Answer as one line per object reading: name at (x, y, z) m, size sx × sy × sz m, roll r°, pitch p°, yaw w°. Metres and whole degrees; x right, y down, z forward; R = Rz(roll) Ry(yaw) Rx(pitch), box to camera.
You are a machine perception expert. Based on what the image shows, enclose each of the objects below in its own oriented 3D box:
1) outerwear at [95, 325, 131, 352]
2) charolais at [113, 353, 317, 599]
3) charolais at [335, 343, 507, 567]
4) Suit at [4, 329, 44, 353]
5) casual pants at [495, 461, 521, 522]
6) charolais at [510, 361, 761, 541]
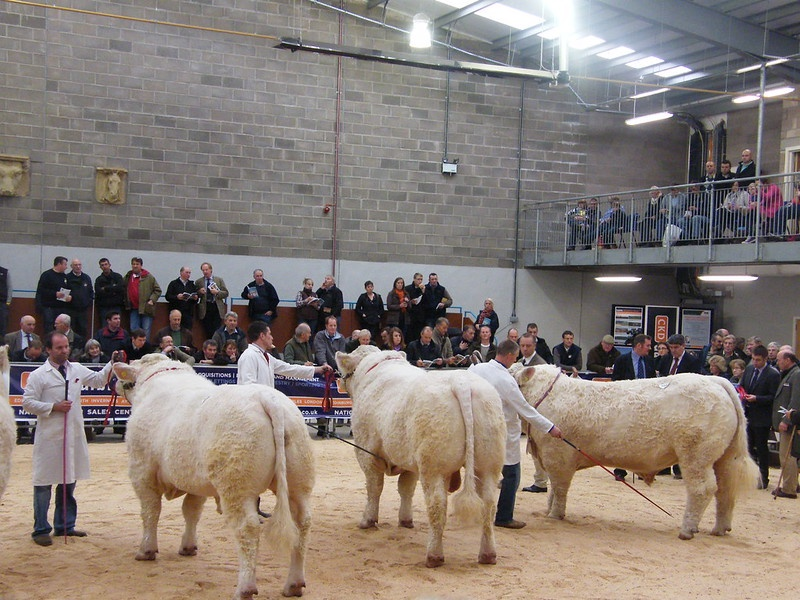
outerwear at (-5.728, 0.804, 22.940) m, size 0.449 × 0.526 × 0.262 m, roll 1°, pitch 1°, yaw -26°
charolais at (-2.666, 2.546, 16.687) m, size 2.820 × 3.257 × 1.089 m, roll 1°, pitch 2°, yaw 33°
charolais at (0.431, 2.118, 18.446) m, size 1.407 × 2.950 × 4.067 m, roll 2°, pitch 0°, yaw -27°
Suit at (-7.184, 0.804, 21.961) m, size 0.377 × 0.454 × 0.226 m, roll 2°, pitch -2°, yaw -24°
casual pants at (1.732, 2.912, 18.198) m, size 0.283 × 1.141 × 0.343 m, roll 0°, pitch 39°, yaw -17°
charolais at (3.517, 2.385, 18.995) m, size 4.452 × 2.772 × 1.550 m, roll 4°, pitch 5°, yaw 23°
